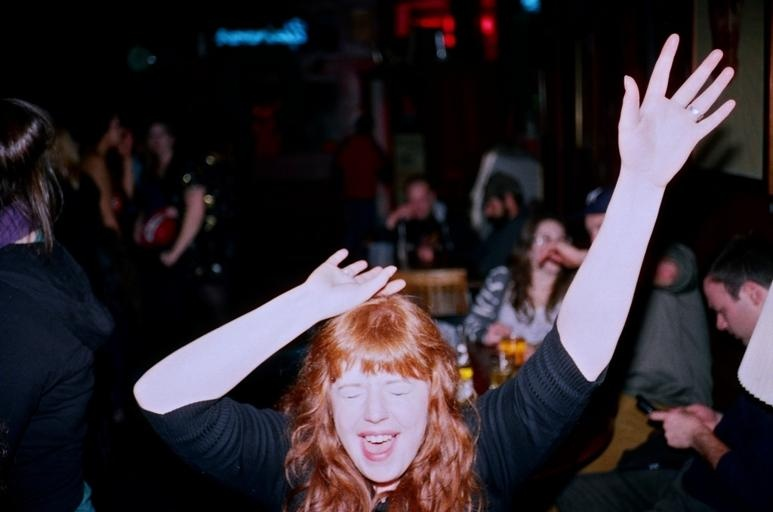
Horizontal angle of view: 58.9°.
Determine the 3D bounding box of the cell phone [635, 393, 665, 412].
[{"bbox_3d":[1.462,0.827,3.828,0.140,0.083,0.031,28,-25,-33],"label":"cell phone"}]
